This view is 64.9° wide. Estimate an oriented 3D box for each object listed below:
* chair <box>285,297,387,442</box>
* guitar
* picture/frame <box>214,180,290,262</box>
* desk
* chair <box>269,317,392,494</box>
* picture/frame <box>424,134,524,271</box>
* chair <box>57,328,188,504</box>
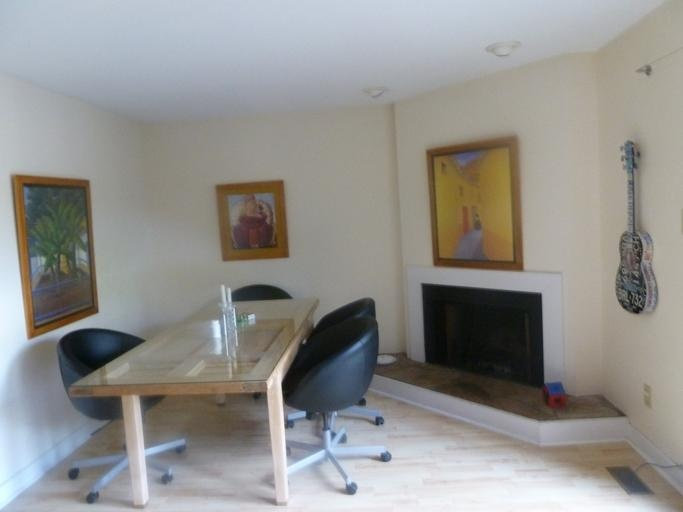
[{"bbox_3d":[-0.074,0.942,4.316,0.926,1.156,0.960,0,23,7],"label":"chair"},{"bbox_3d":[2.038,-0.181,3.689,0.158,1.185,0.406,-2,14,5],"label":"guitar"},{"bbox_3d":[-0.896,-0.392,5.536,0.752,0.907,0.037,-3,7,7],"label":"picture/frame"},{"bbox_3d":[-0.908,0.982,4.002,1.233,1.042,1.575,-1,14,9],"label":"desk"},{"bbox_3d":[-0.045,1.021,4.148,0.947,1.215,1.107,1,2,-7],"label":"chair"},{"bbox_3d":[1.177,-0.451,4.685,0.916,1.132,0.147,10,19,42],"label":"picture/frame"},{"bbox_3d":[-1.659,1.106,4.242,1.000,1.249,1.111,-3,1,8],"label":"chair"}]
